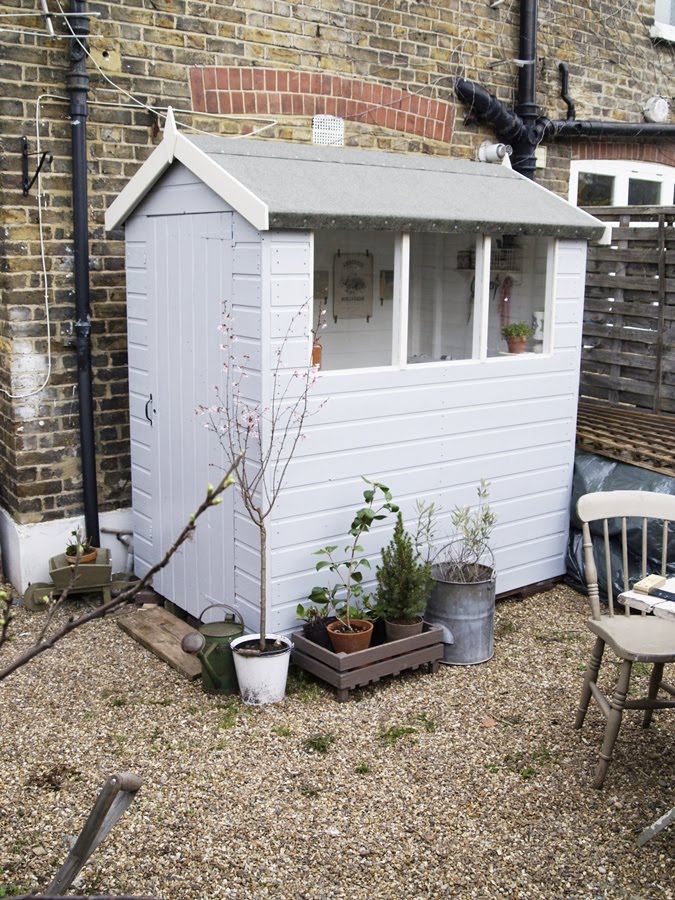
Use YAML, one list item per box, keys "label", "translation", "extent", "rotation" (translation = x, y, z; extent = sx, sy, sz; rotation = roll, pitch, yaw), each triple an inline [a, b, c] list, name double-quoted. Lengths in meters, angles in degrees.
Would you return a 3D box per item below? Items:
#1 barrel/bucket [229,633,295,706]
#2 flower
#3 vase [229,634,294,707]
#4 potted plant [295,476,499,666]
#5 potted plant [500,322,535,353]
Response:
- label: "barrel/bucket"
  translation: [-0.316, 0.940, 3.704]
  extent: [0.290, 0.215, 0.299]
  rotation: [2, 6, 0]
- label: "flower"
  translation: [-0.399, 0.082, 3.759]
  extent: [0.493, 1.493, 0.443]
  rotation: [7, 10, 32]
- label: "vase"
  translation: [-0.339, 0.945, 3.681]
  extent: [0.304, 0.215, 0.282]
  rotation: [-2, 10, -18]
- label: "potted plant"
  translation: [0.249, 0.593, 4.004]
  extent: [0.940, 0.777, 0.379]
  rotation: [-4, 8, -33]
- label: "potted plant"
  translation: [1.113, -0.698, 5.285]
  extent: [0.199, 0.185, 0.192]
  rotation: [-1, 16, -9]
